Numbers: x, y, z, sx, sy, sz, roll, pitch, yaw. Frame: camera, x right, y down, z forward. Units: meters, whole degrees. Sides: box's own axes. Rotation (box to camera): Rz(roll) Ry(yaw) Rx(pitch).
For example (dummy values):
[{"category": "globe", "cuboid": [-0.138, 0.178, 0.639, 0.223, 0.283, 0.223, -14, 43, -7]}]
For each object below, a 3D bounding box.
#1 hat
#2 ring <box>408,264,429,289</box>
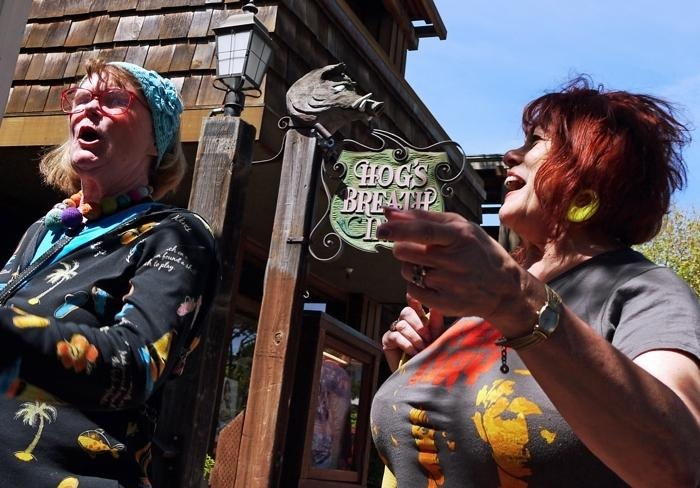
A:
[{"category": "hat", "cuboid": [-0.722, -0.465, 2.654, 0.248, 0.369, 0.292, 13, 12, 23]}, {"category": "ring", "cuboid": [0.151, 0.072, 1.586, 0.035, 0.048, 0.048, 0, -1, -39]}]
